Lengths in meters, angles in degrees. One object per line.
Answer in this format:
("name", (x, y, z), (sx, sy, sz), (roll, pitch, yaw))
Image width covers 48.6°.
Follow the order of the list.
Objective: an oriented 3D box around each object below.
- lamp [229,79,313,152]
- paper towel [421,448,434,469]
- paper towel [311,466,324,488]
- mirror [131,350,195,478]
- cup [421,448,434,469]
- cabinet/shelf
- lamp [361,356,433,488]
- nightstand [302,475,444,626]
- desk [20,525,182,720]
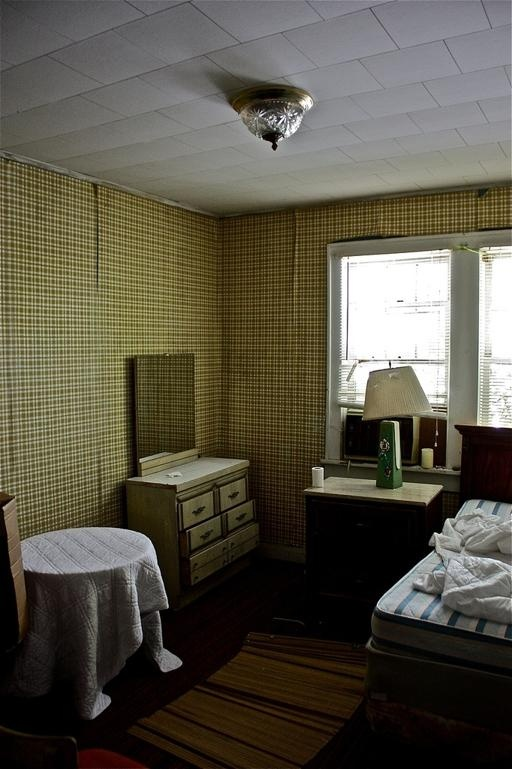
("lamp", (0.057, -0.962, 2.068), (0.228, 0.145, 0.217), (-1, -1, -27))
("paper towel", (1.077, 0.458, 3.556), (0.102, 0.174, 0.110), (0, 0, 17))
("paper towel", (0.358, 0.546, 3.310), (0.095, 0.166, 0.107), (0, -19, 5))
("mirror", (-0.576, 0.171, 3.655), (0.019, 0.532, 0.469), (3, -2, 37))
("cup", (1.078, 0.459, 3.556), (0.102, 0.174, 0.110), (0, 0, 0))
("cabinet/shelf", (-0.385, 0.913, 3.665), (0.485, 0.712, 0.851), (-4, 0, 26))
("lamp", (0.755, 0.245, 3.221), (0.388, 0.721, 0.393), (-4, 2, -8))
("nightstand", (0.604, 0.914, 3.220), (0.613, 0.749, 0.448), (4, 8, 13))
("desk", (-0.744, 1.019, 2.443), (0.559, 0.572, 0.651), (1, 1, 20))
